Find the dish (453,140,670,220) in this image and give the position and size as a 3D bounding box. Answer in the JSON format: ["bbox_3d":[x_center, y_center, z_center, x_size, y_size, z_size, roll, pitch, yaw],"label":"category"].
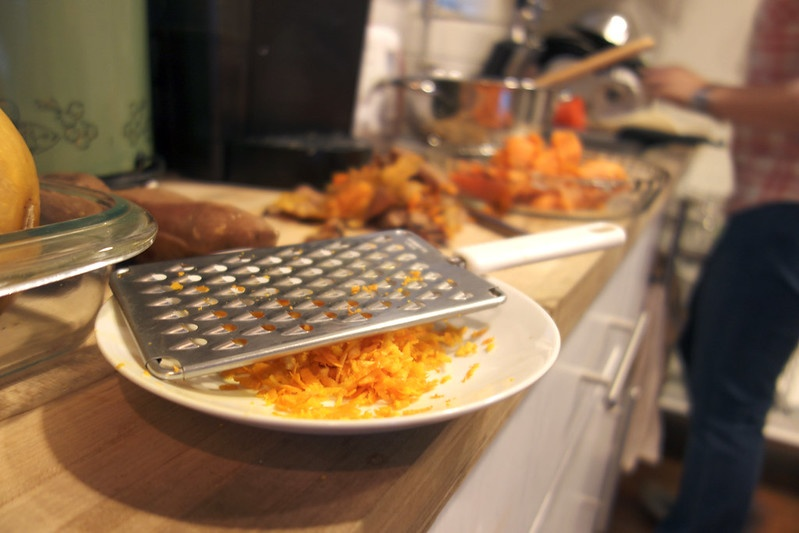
[{"bbox_3d":[0.283,-0.152,1.111,0.274,0.043,0.182,6,28,17],"label":"dish"}]
